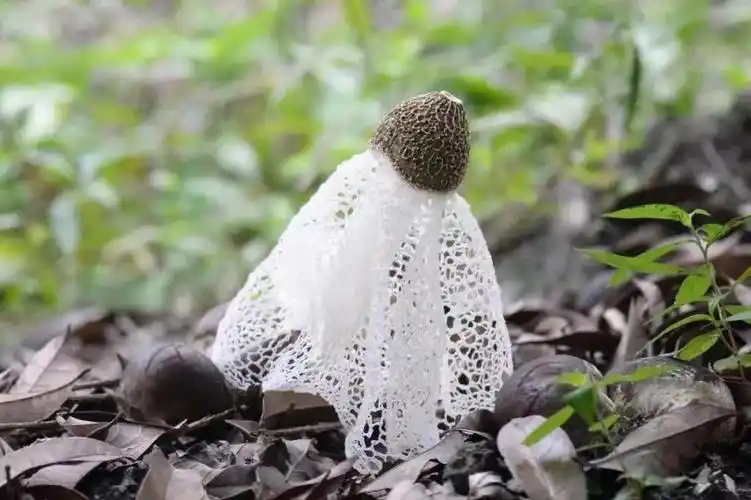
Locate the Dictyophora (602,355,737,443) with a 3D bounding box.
[{"bbox_3d":[0.788,0.365,2.281,0.295,0.163,0.244,21,8,16],"label":"Dictyophora"}]

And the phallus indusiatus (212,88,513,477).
[{"bbox_3d":[0.118,-0.004,2.454,0.822,0.892,0.735,1,16,-9],"label":"phallus indusiatus"}]

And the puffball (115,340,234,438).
[{"bbox_3d":[-0.557,0.361,2.373,0.286,0.223,0.303,-12,8,-43],"label":"puffball"}]
